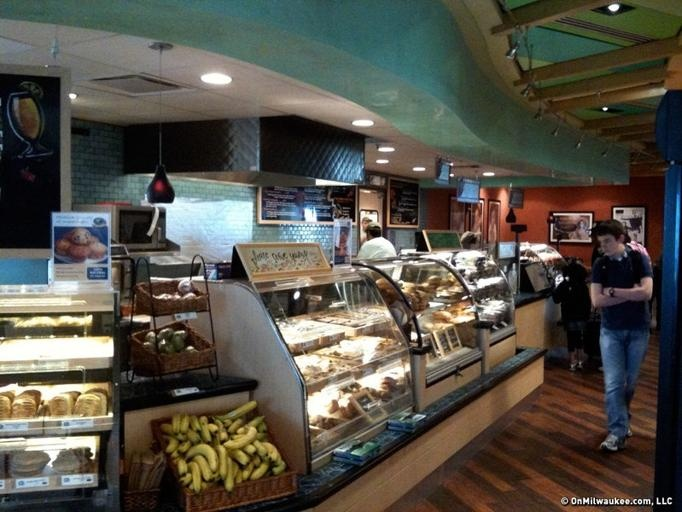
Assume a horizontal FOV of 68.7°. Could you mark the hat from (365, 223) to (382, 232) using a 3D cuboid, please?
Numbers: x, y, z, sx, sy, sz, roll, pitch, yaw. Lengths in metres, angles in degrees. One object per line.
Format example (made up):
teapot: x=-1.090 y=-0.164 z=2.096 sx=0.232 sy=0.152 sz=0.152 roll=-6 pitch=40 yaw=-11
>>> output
hat: x=0.459 y=-0.404 z=7.240 sx=0.284 sy=0.119 sz=0.347 roll=2 pitch=7 yaw=5

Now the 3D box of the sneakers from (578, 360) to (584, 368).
sneakers: x=3.325 y=1.489 z=6.918 sx=0.073 sy=0.114 sz=0.134 roll=-3 pitch=5 yaw=29

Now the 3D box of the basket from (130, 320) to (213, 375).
basket: x=-1.005 y=0.580 z=2.993 sx=0.355 sy=0.151 sz=0.434 roll=13 pitch=15 yaw=42

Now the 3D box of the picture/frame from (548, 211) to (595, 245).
picture/frame: x=6.051 y=-0.741 z=12.993 sx=1.156 sy=0.791 sz=0.054 roll=3 pitch=2 yaw=29

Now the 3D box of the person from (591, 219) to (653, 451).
person: x=2.476 y=0.697 z=4.448 sx=0.469 sy=2.026 sz=0.446 roll=2 pitch=5 yaw=28

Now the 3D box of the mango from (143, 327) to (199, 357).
mango: x=-1.062 y=0.518 z=3.035 sx=0.188 sy=0.067 sz=0.215 roll=-4 pitch=15 yaw=-29

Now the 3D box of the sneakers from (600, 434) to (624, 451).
sneakers: x=2.447 y=1.653 z=4.447 sx=0.290 sy=0.115 sz=0.099 roll=7 pitch=-12 yaw=-37

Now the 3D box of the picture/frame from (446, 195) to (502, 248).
picture/frame: x=3.017 y=-0.828 z=11.495 sx=0.036 sy=0.921 sz=1.865 roll=-2 pitch=-1 yaw=41

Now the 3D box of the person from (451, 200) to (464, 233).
person: x=3.014 y=-1.046 z=12.865 sx=0.213 sy=0.864 sz=0.734 roll=2 pitch=5 yaw=28

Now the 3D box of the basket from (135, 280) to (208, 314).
basket: x=-1.041 y=0.260 z=3.039 sx=0.338 sy=0.102 sz=0.271 roll=-4 pitch=9 yaw=-38
